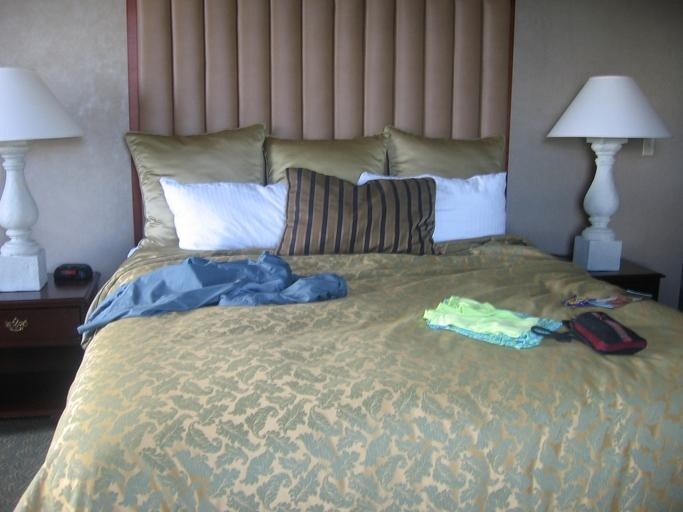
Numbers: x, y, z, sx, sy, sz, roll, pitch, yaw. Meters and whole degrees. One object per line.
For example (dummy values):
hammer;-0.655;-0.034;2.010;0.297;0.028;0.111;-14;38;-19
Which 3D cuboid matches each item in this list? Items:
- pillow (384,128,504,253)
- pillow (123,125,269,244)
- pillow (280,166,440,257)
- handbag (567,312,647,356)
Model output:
pillow;0.607;-0.388;3.300;0.769;0.845;0.301;11;-20;14
pillow;-0.925;-0.334;3.243;0.706;0.684;0.213;-8;-1;-25
pillow;0.095;-0.215;2.846;0.820;0.485;0.247;1;-9;-8
handbag;0.888;0.246;1.854;0.203;0.075;0.226;-6;30;-10
